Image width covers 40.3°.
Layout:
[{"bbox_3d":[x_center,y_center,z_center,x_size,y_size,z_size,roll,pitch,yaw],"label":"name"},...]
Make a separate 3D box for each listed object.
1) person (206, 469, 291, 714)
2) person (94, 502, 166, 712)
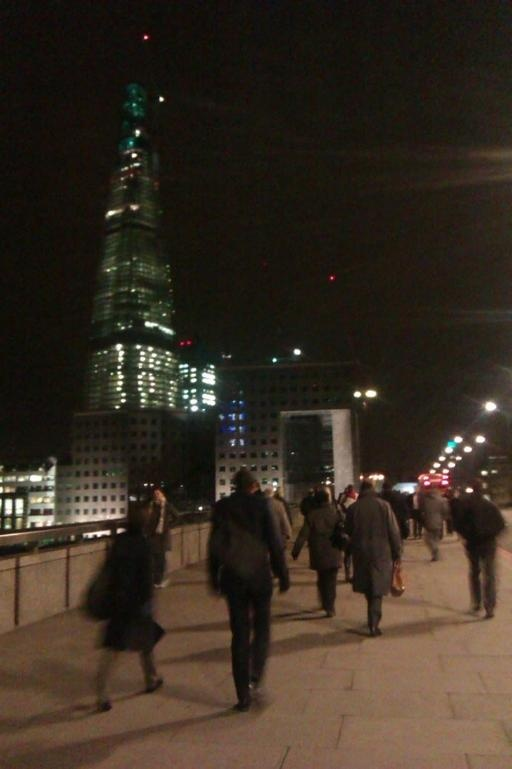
[{"bbox_3d":[-0.041,1.491,5.253,0.617,1.680,0.522,4,-10,-30],"label":"person"},{"bbox_3d":[-0.909,1.645,5.201,0.336,1.396,0.560,-5,-9,21],"label":"person"}]
